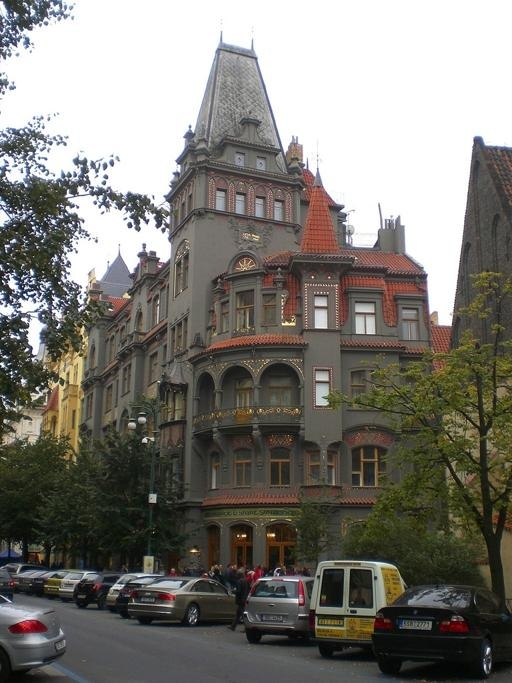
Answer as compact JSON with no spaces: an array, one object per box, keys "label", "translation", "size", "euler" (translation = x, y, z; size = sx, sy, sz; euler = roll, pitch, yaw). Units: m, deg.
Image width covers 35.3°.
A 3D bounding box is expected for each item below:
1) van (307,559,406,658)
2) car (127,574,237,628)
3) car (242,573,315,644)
[{"label":"van","translation":[1.688,4.703,14.443],"size":[1.385,1.132,2.163],"euler":[-6,-13,28]},{"label":"car","translation":[-1.782,6.820,21.119],"size":[2.537,1.213,1.122],"euler":[18,-25,-39]},{"label":"car","translation":[0.490,5.582,16.838],"size":[1.054,0.777,1.756],"euler":[-4,-11,22]}]
